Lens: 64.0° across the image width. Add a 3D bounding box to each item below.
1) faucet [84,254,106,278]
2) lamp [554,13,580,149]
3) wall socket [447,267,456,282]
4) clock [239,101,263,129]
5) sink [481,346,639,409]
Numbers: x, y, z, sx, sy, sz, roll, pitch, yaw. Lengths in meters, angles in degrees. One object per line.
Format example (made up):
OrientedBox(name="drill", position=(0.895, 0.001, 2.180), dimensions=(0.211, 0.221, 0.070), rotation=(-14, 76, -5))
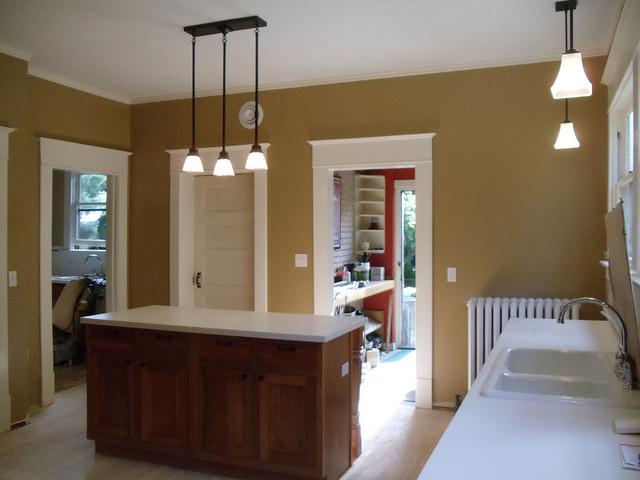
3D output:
OrientedBox(name="faucet", position=(-3.194, 0.358, 7.292), dimensions=(0.197, 0.300, 0.496), rotation=(-2, 4, -36))
OrientedBox(name="lamp", position=(1.906, -1.134, 4.024), dimensions=(0.168, 1.194, 0.221), rotation=(4, 3, 26))
OrientedBox(name="wall socket", position=(1.267, 0.335, 4.941), dimensions=(0.076, 0.134, 0.014), rotation=(1, 3, 19))
OrientedBox(name="clock", position=(-0.797, -1.364, 5.586), dimensions=(0.186, 0.298, 0.027), rotation=(1, 3, 24))
OrientedBox(name="sink", position=(1.232, 0.698, 2.695), dimensions=(0.718, 0.223, 0.823), rotation=(1, 3, 19))
